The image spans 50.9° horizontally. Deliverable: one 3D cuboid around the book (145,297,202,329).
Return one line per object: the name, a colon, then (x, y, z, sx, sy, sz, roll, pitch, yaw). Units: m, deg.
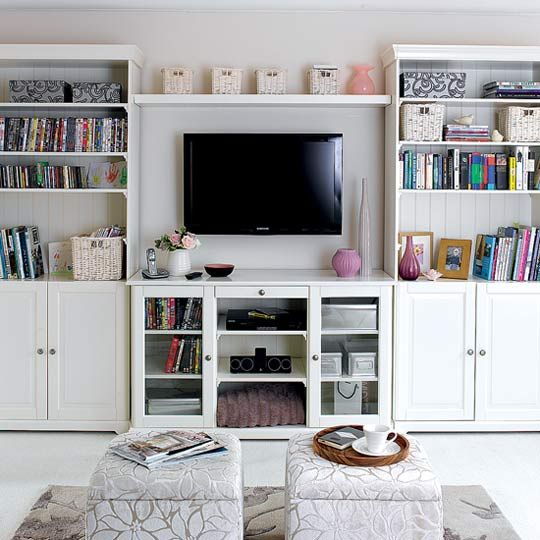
book: (-0.573, 0.257, 3.474, 0.348, 0.176, 0.303, 1, 0, -1)

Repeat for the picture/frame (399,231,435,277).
picture/frame: (0.912, -0.097, 3.558, 0.306, 0.301, 0.022, -1, 7, -13)

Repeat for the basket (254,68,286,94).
basket: (0.006, -1.118, 3.429, 0.162, 0.114, 0.158, 0, 8, 0)

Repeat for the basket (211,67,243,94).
basket: (-0.265, -1.140, 3.448, 0.180, 0.171, 0.089, -2, 6, -1)

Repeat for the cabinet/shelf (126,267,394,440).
cabinet/shelf: (-0.058, 0.521, 3.553, 1.634, 0.939, 0.522, 0, 4, -2)

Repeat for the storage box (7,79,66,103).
storage box: (-1.382, -1.051, 3.364, 0.325, 0.135, 0.057, -2, 6, -5)

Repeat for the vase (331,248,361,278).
vase: (0.450, -0.040, 3.457, 0.157, 0.143, 0.171, -1, 0, -17)

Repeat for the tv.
tv: (-0.046, -0.541, 3.594, 1.051, 0.637, 0.072, 2, 8, 12)

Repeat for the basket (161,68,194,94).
basket: (-0.557, -1.135, 3.417, 0.258, 0.174, 0.147, 0, 4, -4)

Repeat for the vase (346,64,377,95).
vase: (0.555, -1.163, 3.551, 0.216, 0.194, 0.210, -2, 12, -6)

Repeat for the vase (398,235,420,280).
vase: (0.850, -0.070, 3.472, 0.191, 0.262, 0.186, 0, -3, 7)

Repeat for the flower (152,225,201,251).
flower: (-0.535, -0.188, 3.499, 0.220, 0.107, 0.204, 5, 27, 13)

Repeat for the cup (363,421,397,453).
cup: (0.406, 0.607, 2.104, 0.129, 0.086, 0.102, 0, -1, -7)

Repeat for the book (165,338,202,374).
book: (-0.493, 0.504, 3.345, 0.199, 0.251, 0.267, 3, -1, 0)

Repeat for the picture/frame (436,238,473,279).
picture/frame: (1.164, -0.068, 3.599, 0.260, 0.195, 0.020, -6, -12, 42)

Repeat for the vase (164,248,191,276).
vase: (-0.555, -0.041, 3.431, 0.156, 0.147, 0.150, 1, 4, -7)

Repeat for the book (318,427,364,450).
book: (0.273, 0.653, 2.187, 0.089, 0.018, 0.141, 2, 2, 35)

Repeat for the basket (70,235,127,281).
basket: (-1.039, -0.072, 3.381, 0.276, 0.207, 0.271, 1, 4, -3)

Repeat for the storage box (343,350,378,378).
storage box: (0.546, 0.557, 3.362, 0.163, 0.113, 0.159, 0, -1, -5)
